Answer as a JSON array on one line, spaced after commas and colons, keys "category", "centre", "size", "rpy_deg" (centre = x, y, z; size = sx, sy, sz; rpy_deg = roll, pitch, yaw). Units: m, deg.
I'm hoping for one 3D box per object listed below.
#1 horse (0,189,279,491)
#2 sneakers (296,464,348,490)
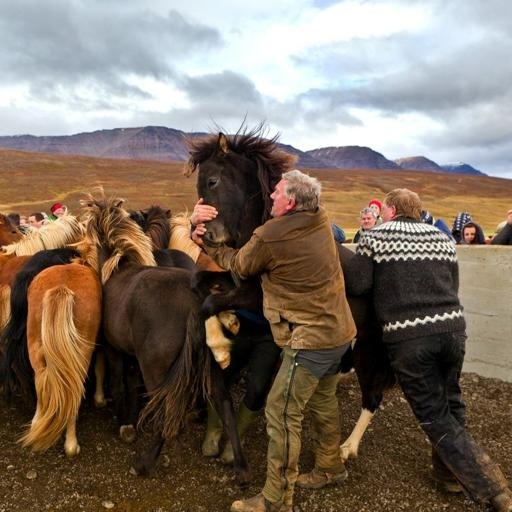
[{"category": "horse", "centre": [-1.310, 0.435, 4.224], "size": [1.033, 2.365, 3.546], "rpy_deg": [-4, 12, -36]}, {"category": "sneakers", "centre": [0.465, 1.638, 3.164], "size": [0.411, 0.183, 0.138], "rpy_deg": [0, 1, -7]}]
